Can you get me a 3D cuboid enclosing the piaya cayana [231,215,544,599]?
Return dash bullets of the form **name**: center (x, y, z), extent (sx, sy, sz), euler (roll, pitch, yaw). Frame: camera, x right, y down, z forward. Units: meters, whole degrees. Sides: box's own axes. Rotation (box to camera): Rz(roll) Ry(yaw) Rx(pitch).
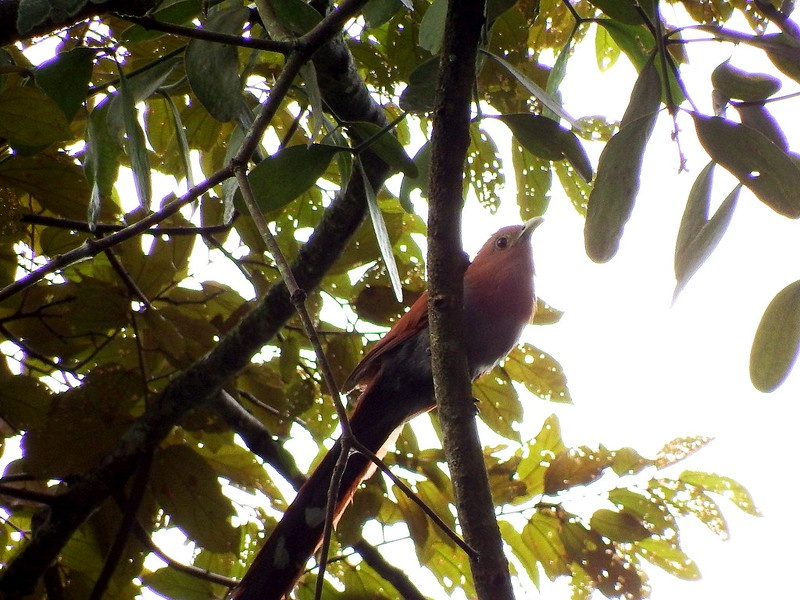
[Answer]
- **piaya cayana**: center (0.057, 0.357, 3.346), extent (0.927, 1.558, 0.394), euler (-32, -64, 33)
